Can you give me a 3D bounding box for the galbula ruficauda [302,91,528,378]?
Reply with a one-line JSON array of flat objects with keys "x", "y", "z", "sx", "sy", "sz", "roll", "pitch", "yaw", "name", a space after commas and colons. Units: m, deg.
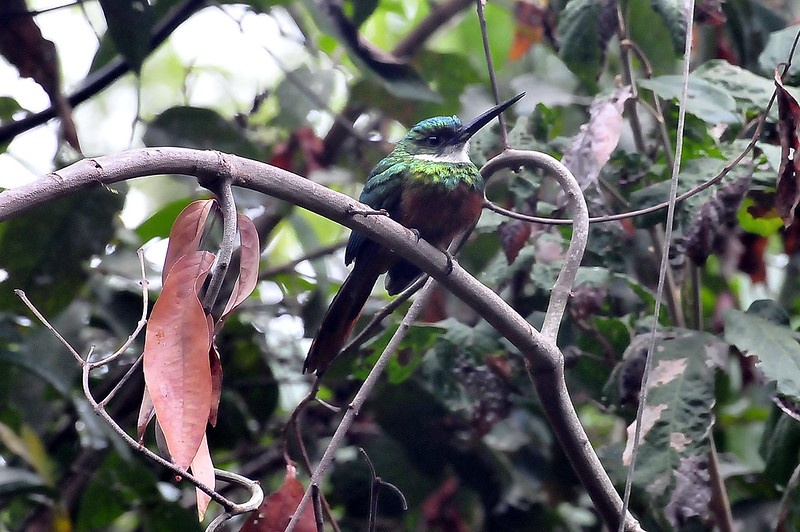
[{"x": -0.016, "y": -0.105, "z": 2.697, "sx": 0.293, "sy": 0.430, "sz": 0.936, "roll": 16, "pitch": -41, "yaw": -35, "name": "galbula ruficauda"}]
